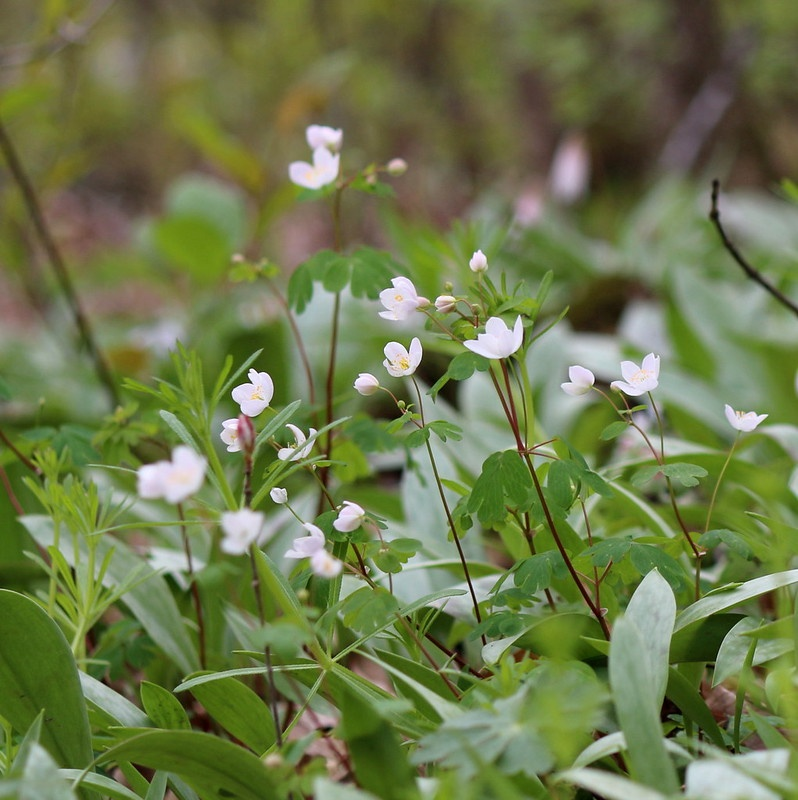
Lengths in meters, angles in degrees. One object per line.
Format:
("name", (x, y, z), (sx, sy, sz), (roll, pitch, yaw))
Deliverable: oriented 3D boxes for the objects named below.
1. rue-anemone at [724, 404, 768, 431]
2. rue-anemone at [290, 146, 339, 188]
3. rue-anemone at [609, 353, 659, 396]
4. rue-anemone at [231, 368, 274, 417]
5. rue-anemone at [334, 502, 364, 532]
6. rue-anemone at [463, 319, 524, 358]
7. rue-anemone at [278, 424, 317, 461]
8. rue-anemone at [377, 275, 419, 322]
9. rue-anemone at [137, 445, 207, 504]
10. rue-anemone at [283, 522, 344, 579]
("rue-anemone", (0.712, 0.039, 1.902), (0.067, 0.042, 0.055), (15, -5, -41))
("rue-anemone", (-0.129, -0.347, 1.448), (0.057, 0.040, 0.074), (7, 79, 38))
("rue-anemone", (0.370, -0.029, 1.443), (0.061, 0.045, 0.081), (-23, 34, 35))
("rue-anemone", (-0.220, -0.001, 1.382), (0.058, 0.043, 0.074), (-33, 45, 33))
("rue-anemone", (-0.070, 0.164, 1.352), (0.019, 0.041, 0.048), (13, 64, -2))
("rue-anemone", (0.137, -0.082, 1.281), (0.054, 0.070, 0.036), (-17, 53, -17))
("rue-anemone", (-0.179, 0.077, 1.648), (0.038, 0.066, 0.064), (32, 19, 4))
("rue-anemone", (-0.002, -0.159, 1.424), (0.038, 0.057, 0.067), (3, 43, -13))
("rue-anemone", (-0.258, 0.097, 1.067), (0.074, 0.032, 0.082), (-9, 56, -5))
("rue-anemone", (-0.107, 0.200, 1.190), (0.093, 0.087, 0.039), (17, 25, 42))
